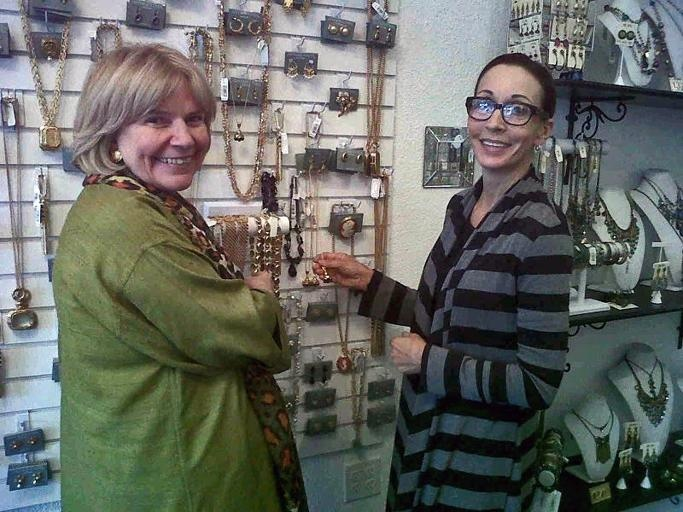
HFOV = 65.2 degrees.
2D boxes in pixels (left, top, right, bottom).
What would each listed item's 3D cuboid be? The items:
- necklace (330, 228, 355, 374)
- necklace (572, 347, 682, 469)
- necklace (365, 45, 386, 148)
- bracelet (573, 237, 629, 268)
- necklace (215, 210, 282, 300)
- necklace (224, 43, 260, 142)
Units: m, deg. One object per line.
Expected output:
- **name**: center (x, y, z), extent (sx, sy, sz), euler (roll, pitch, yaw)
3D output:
- **necklace**: center (0.010, 0.283, 2.566), extent (0.083, 0.588, 0.020), euler (-3, 13, -9)
- **necklace**: center (1.610, 0.884, 3.064), extent (0.659, 0.667, 0.291), euler (-1, 1, -17)
- **necklace**: center (0.152, -0.713, 2.458), extent (0.066, 0.502, 0.040), euler (4, 6, -5)
- **bracelet**: center (1.279, -0.024, 2.743), extent (0.391, 0.178, 0.125), euler (-6, 3, -27)
- **necklace**: center (-0.361, -0.014, 2.053), extent (0.345, 0.398, 0.094), euler (-2, 6, -27)
- **necklace**: center (-0.411, -0.641, 2.235), extent (0.148, 0.312, 0.090), euler (7, 1, 7)
